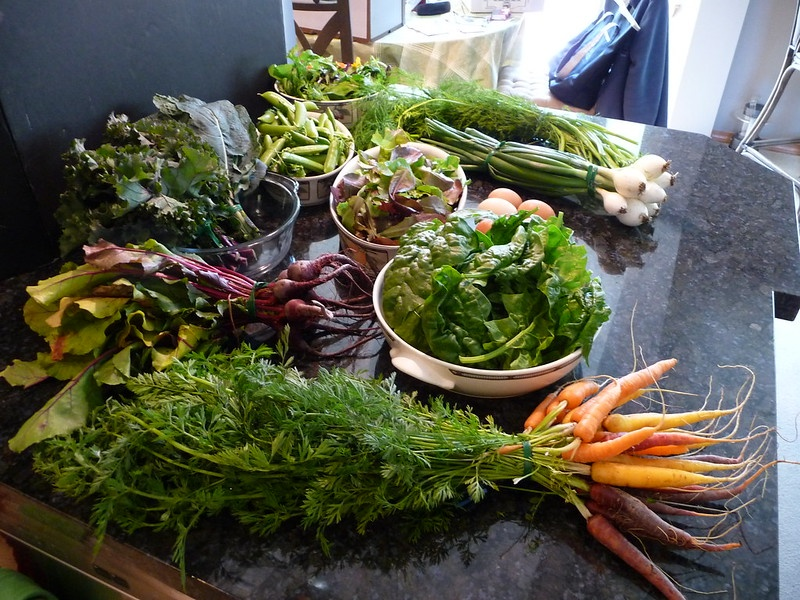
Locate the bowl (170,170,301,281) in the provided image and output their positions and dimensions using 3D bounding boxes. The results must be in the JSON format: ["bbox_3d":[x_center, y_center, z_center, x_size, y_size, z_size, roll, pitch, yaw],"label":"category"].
[{"bbox_3d":[-0.351,-0.181,1.454,0.337,0.122,0.255,12,52,16],"label":"bowl"}]

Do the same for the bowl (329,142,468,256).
[{"bbox_3d":[0.003,-0.231,1.592,0.353,0.183,0.343,0,54,0],"label":"bowl"}]

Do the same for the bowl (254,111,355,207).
[{"bbox_3d":[-0.258,-0.411,1.806,0.363,0.141,0.295,5,60,2],"label":"bowl"}]

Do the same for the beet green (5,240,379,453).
[{"bbox_3d":[-0.462,0.059,1.243,0.821,0.238,0.370,1,28,-6],"label":"beet green"}]
